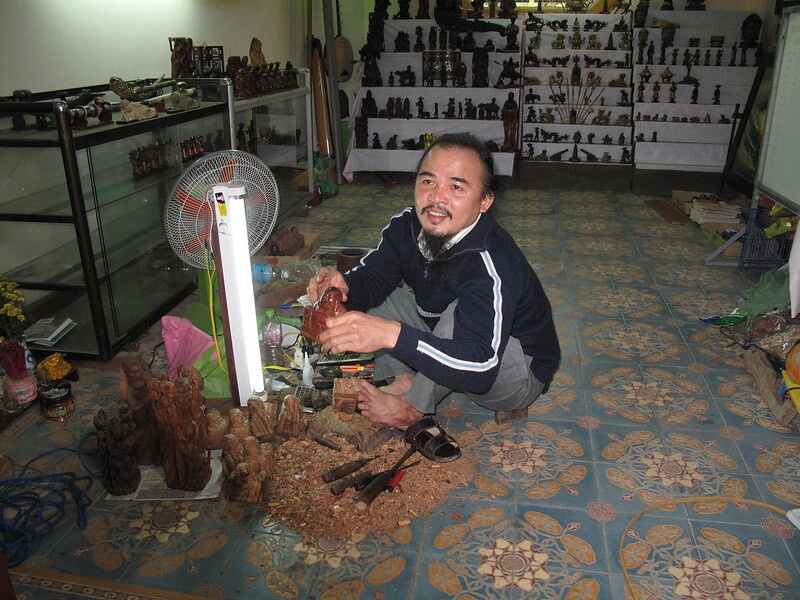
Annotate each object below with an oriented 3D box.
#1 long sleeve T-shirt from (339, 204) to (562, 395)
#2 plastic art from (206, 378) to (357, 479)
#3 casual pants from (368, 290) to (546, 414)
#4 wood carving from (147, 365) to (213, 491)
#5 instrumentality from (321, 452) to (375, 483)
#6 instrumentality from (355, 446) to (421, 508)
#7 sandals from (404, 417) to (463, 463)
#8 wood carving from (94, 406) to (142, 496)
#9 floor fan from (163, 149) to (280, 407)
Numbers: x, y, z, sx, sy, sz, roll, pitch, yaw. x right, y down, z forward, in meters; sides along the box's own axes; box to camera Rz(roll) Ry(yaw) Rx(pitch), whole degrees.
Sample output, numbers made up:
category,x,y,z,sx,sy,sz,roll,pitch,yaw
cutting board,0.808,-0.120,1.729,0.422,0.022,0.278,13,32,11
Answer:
category,x,y,z,sx,sy,sz,roll,pitch,yaw
long sleeve T-shirt,0.223,0.036,3.067,1.113,1.110,1.120,25,34,37
plastic art,-0.837,0.833,3.160,0.564,0.172,0.507,-8,40,-12
casual pants,0.342,0.404,3.217,1.010,0.806,0.486,22,65,-12
wood carving,-1.175,0.730,2.765,0.257,0.675,0.218,-8,29,-20
instrumentality,-0.259,0.975,3.013,0.437,0.070,0.082,-11,21,-43
instrumentality,-0.067,1.007,2.894,0.103,0.079,0.574,0,15,25
sandals,0.178,0.819,3.136,0.226,0.191,0.473,-9,8,-30
wood carving,-1.550,0.842,2.818,0.190,0.459,0.233,-6,28,-16
floor fan,-1.213,-0.226,3.459,0.815,1.567,1.329,-4,27,-13
